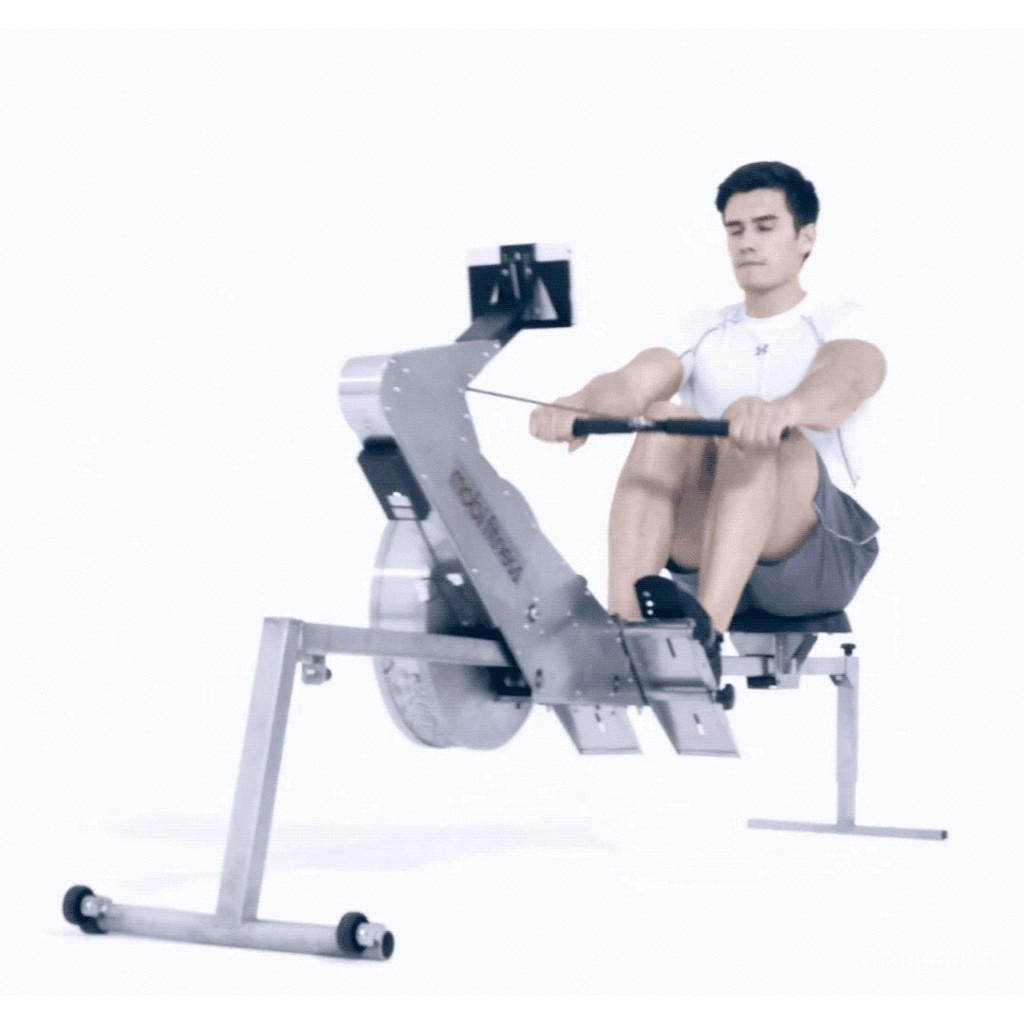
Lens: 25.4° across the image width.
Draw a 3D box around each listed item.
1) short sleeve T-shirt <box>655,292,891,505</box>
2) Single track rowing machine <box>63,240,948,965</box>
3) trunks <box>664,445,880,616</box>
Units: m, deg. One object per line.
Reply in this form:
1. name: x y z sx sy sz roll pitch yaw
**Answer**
1. short sleeve T-shirt: 0.560 -0.219 4.762 0.383 0.370 0.206 -19 -1 17
2. Single track rowing machine: 0.176 0.110 4.812 0.814 1.281 2.177 0 1 41
3. trunks: 0.564 0.065 4.839 0.343 0.184 0.472 -1 8 40
